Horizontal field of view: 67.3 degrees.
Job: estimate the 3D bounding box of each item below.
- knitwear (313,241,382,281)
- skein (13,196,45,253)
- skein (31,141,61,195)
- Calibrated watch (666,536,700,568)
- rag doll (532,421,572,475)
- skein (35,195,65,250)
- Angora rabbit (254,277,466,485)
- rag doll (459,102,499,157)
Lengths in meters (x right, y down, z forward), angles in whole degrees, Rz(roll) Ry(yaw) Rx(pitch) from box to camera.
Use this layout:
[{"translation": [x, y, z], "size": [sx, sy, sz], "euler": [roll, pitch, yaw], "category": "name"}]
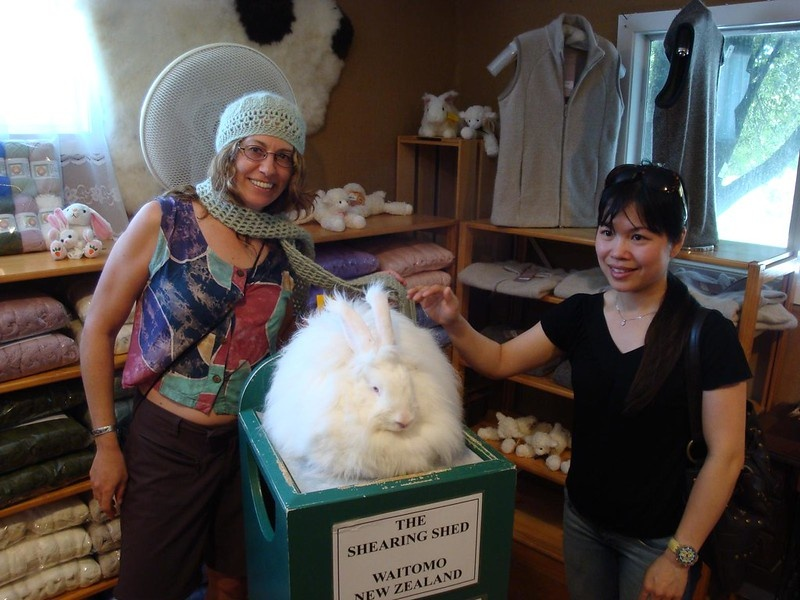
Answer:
[{"translation": [-0.247, -0.215, 2.791], "size": [0.284, 0.182, 0.314], "euler": [16, 17, 38], "category": "knitwear"}, {"translation": [-1.374, -0.291, 2.223], "size": [0.059, 0.207, 0.111], "euler": [-2, 9, 34], "category": "skein"}, {"translation": [-1.328, -0.493, 2.244], "size": [0.096, 0.183, 0.056], "euler": [-5, 4, -24], "category": "skein"}, {"translation": [0.685, 0.616, 1.462], "size": [0.075, 0.055, 0.028], "euler": [43, 11, 18], "category": "Calibrated watch"}, {"translation": [0.703, 0.678, 2.790], "size": [0.139, 0.087, 0.207], "euler": [-3, 44, 5], "category": "rag doll"}, {"translation": [-1.309, -0.292, 2.251], "size": [0.122, 0.183, 0.049], "euler": [-1, -9, -39], "category": "skein"}, {"translation": [-0.084, 0.167, 1.439], "size": [0.432, 0.420, 0.565], "euler": [-4, 10, -16], "category": "Angora rabbit"}, {"translation": [0.413, -0.907, 3.140], "size": [0.170, 0.237, 0.201], "euler": [-29, 39, -24], "category": "rag doll"}]
